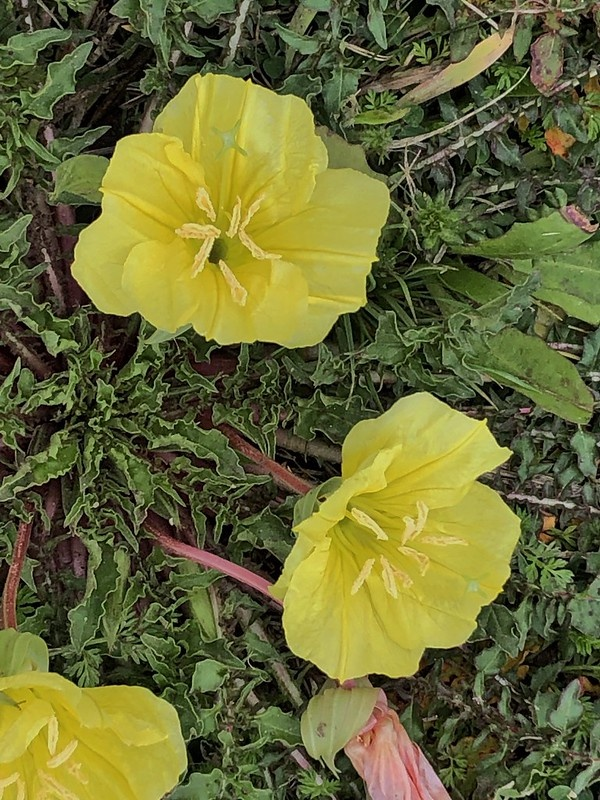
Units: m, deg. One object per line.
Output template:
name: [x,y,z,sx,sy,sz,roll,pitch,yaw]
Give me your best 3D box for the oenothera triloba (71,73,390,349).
oenothera triloba: [-0.082,-0.240,1.037,0.381,0.292,0.352,23,74,9]
